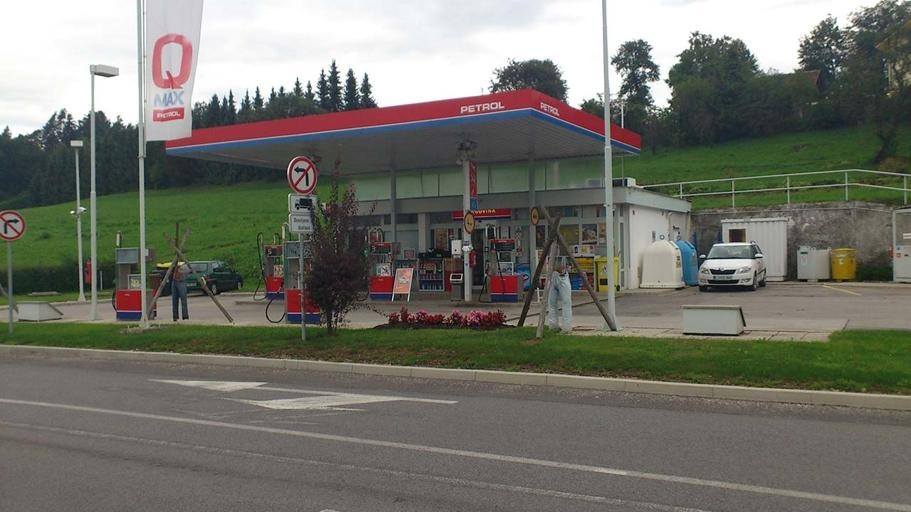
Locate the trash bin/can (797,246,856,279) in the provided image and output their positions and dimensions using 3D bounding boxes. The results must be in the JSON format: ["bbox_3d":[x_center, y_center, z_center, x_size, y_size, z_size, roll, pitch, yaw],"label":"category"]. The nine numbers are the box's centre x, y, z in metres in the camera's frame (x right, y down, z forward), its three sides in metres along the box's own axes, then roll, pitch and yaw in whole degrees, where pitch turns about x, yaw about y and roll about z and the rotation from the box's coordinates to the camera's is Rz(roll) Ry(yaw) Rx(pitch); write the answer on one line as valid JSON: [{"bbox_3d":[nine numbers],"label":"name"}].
[{"bbox_3d":[21.536,0.403,55.875,3.100,1.554,0.859,-1,-1,17],"label":"trash bin/can"}]

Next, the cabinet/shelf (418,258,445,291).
[{"bbox_3d":[-1.310,1.057,54.348,1.926,2.141,0.718,-1,-4,16],"label":"cabinet/shelf"}]

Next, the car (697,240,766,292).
[{"bbox_3d":[15.535,0.600,53.217,2.287,1.525,3.778,-3,-6,27],"label":"car"}]

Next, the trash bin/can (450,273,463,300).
[{"bbox_3d":[0.081,1.608,51.185,0.667,1.415,0.638,-1,0,-7],"label":"trash bin/can"}]
